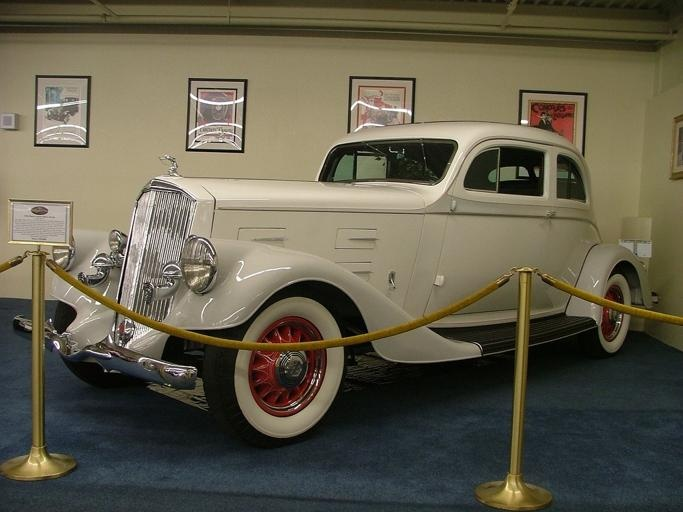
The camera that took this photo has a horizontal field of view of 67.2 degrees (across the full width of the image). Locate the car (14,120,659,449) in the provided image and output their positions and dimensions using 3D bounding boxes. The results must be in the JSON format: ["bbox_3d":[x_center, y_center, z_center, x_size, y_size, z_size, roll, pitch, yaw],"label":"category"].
[{"bbox_3d":[0.129,-0.053,3.743,4.197,1.999,1.716,-3,7,-37],"label":"car"}]
